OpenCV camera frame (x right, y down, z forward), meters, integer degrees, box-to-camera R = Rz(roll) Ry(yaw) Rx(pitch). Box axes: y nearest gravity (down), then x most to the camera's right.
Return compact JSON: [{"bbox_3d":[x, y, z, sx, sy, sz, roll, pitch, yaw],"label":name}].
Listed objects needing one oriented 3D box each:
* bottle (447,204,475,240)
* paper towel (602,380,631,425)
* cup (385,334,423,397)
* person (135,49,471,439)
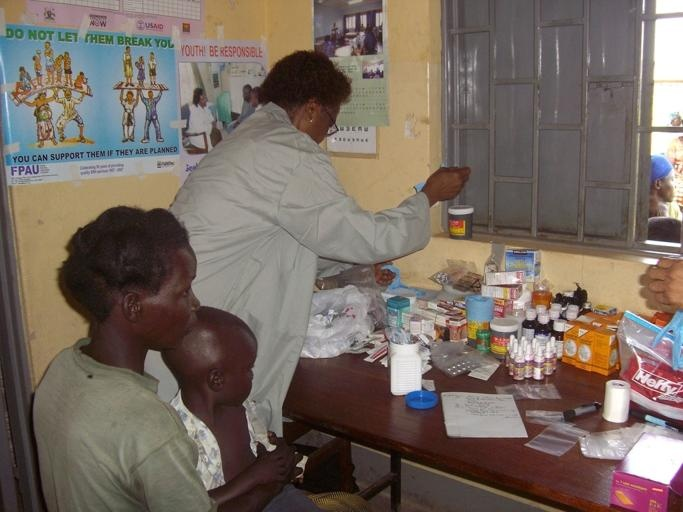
[{"bbox_3d":[0.530,-0.163,2.436,0.133,0.147,0.137,5,16,28],"label":"bottle"},{"bbox_3d":[0.815,0.427,1.605,0.065,0.112,0.115,6,12,41],"label":"paper towel"},{"bbox_3d":[0.209,0.374,1.850,0.134,0.238,0.144,-3,2,0],"label":"cup"},{"bbox_3d":[-0.134,-0.001,2.094,1.014,1.483,0.600,1,29,-10],"label":"person"}]
